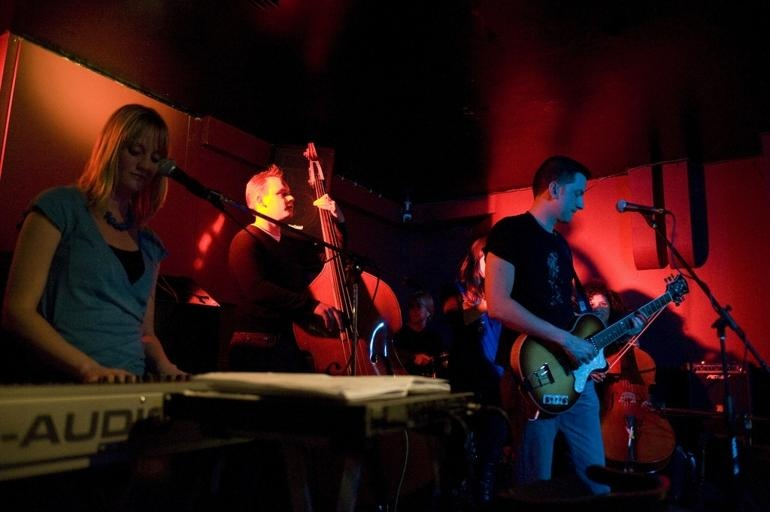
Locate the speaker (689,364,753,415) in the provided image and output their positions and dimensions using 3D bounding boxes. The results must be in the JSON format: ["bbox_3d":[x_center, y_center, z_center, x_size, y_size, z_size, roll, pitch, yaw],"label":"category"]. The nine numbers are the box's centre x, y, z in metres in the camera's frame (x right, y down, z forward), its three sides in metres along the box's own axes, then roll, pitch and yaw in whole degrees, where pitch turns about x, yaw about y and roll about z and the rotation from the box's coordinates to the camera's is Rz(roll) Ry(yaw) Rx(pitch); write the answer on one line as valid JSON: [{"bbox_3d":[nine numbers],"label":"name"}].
[{"bbox_3d":[3.272,1.286,5.936,0.524,0.527,0.309,-13,-26,30],"label":"speaker"}]

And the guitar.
[{"bbox_3d":[1.438,0.484,3.998,1.451,0.540,0.172,-33,14,-25],"label":"guitar"}]

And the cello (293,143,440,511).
[{"bbox_3d":[-0.069,0.619,4.225,0.815,1.980,0.588,5,-18,-40],"label":"cello"}]

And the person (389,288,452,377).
[{"bbox_3d":[0.411,0.814,6.505,0.609,0.922,0.272,1,-10,-30],"label":"person"}]

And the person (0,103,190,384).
[{"bbox_3d":[-1.392,-0.056,2.940,0.557,1.357,0.433,4,-23,-9],"label":"person"}]

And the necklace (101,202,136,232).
[{"bbox_3d":[-1.313,-0.174,3.033,0.099,0.079,0.033,15,-36,-28],"label":"necklace"}]

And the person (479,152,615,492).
[{"bbox_3d":[1.023,0.605,3.965,0.910,2.455,0.745,-1,1,-18],"label":"person"}]

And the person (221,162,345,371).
[{"bbox_3d":[-0.779,0.133,4.627,0.508,1.559,0.836,-5,-22,27],"label":"person"}]

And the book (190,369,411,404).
[{"bbox_3d":[-0.332,0.517,2.387,0.844,0.158,0.295,-8,-24,19],"label":"book"}]

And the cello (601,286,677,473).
[{"bbox_3d":[2.360,1.209,5.856,0.725,1.797,0.455,-1,-26,19],"label":"cello"}]
